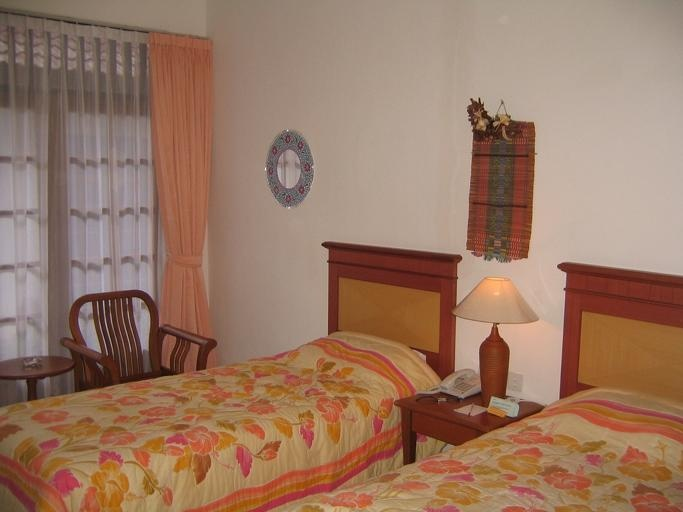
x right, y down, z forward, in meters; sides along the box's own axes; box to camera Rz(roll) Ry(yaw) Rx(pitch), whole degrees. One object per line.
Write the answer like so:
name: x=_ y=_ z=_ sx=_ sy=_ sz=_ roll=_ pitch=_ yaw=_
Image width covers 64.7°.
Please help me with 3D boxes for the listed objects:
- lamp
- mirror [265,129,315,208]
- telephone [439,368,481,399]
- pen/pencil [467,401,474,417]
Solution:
lamp: x=0.946 y=0.529 z=3.402 sx=0.482 sy=0.775 sz=0.511 roll=5 pitch=3 yaw=-15
mirror: x=-0.451 y=-0.807 z=4.870 sx=0.071 sy=0.768 sz=0.645 roll=-6 pitch=8 yaw=-37
telephone: x=0.796 y=0.804 z=3.523 sx=0.210 sy=0.090 sz=0.152 roll=-10 pitch=11 yaw=-43
pen/pencil: x=0.790 y=0.934 z=3.305 sx=0.021 sy=0.010 sz=0.181 roll=-1 pitch=0 yaw=19
